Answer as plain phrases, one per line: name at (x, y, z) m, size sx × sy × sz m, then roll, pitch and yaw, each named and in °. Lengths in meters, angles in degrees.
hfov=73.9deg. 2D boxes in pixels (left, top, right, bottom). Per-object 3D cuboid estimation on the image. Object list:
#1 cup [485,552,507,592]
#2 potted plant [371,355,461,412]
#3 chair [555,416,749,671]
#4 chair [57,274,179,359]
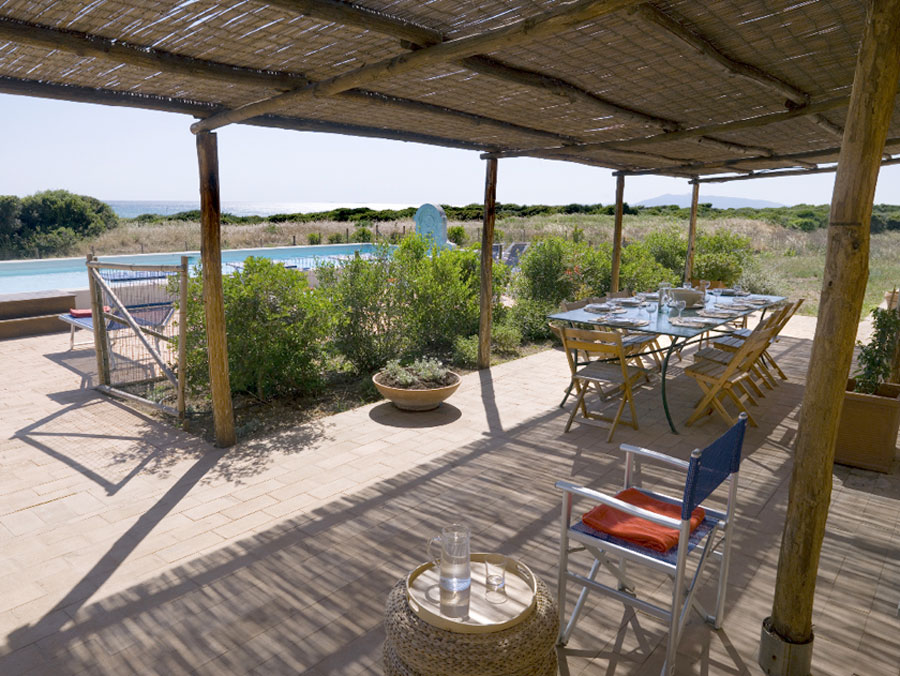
cup at (0.214, 1.051, 2.697) m, size 0.097 × 0.142 × 0.079 m, roll 3°, pitch 3°, yaw 9°
potted plant at (-0.385, 0.500, 6.355) m, size 0.895 × 0.464 × 0.639 m, roll 5°, pitch 14°, yaw 19°
chair at (1.185, 1.224, 3.509) m, size 0.795 × 1.476 × 1.005 m, roll 7°, pitch 11°, yaw 37°
chair at (-4.564, -0.264, 8.183) m, size 0.862 × 0.873 × 1.263 m, roll -3°, pitch 13°, yaw -30°
